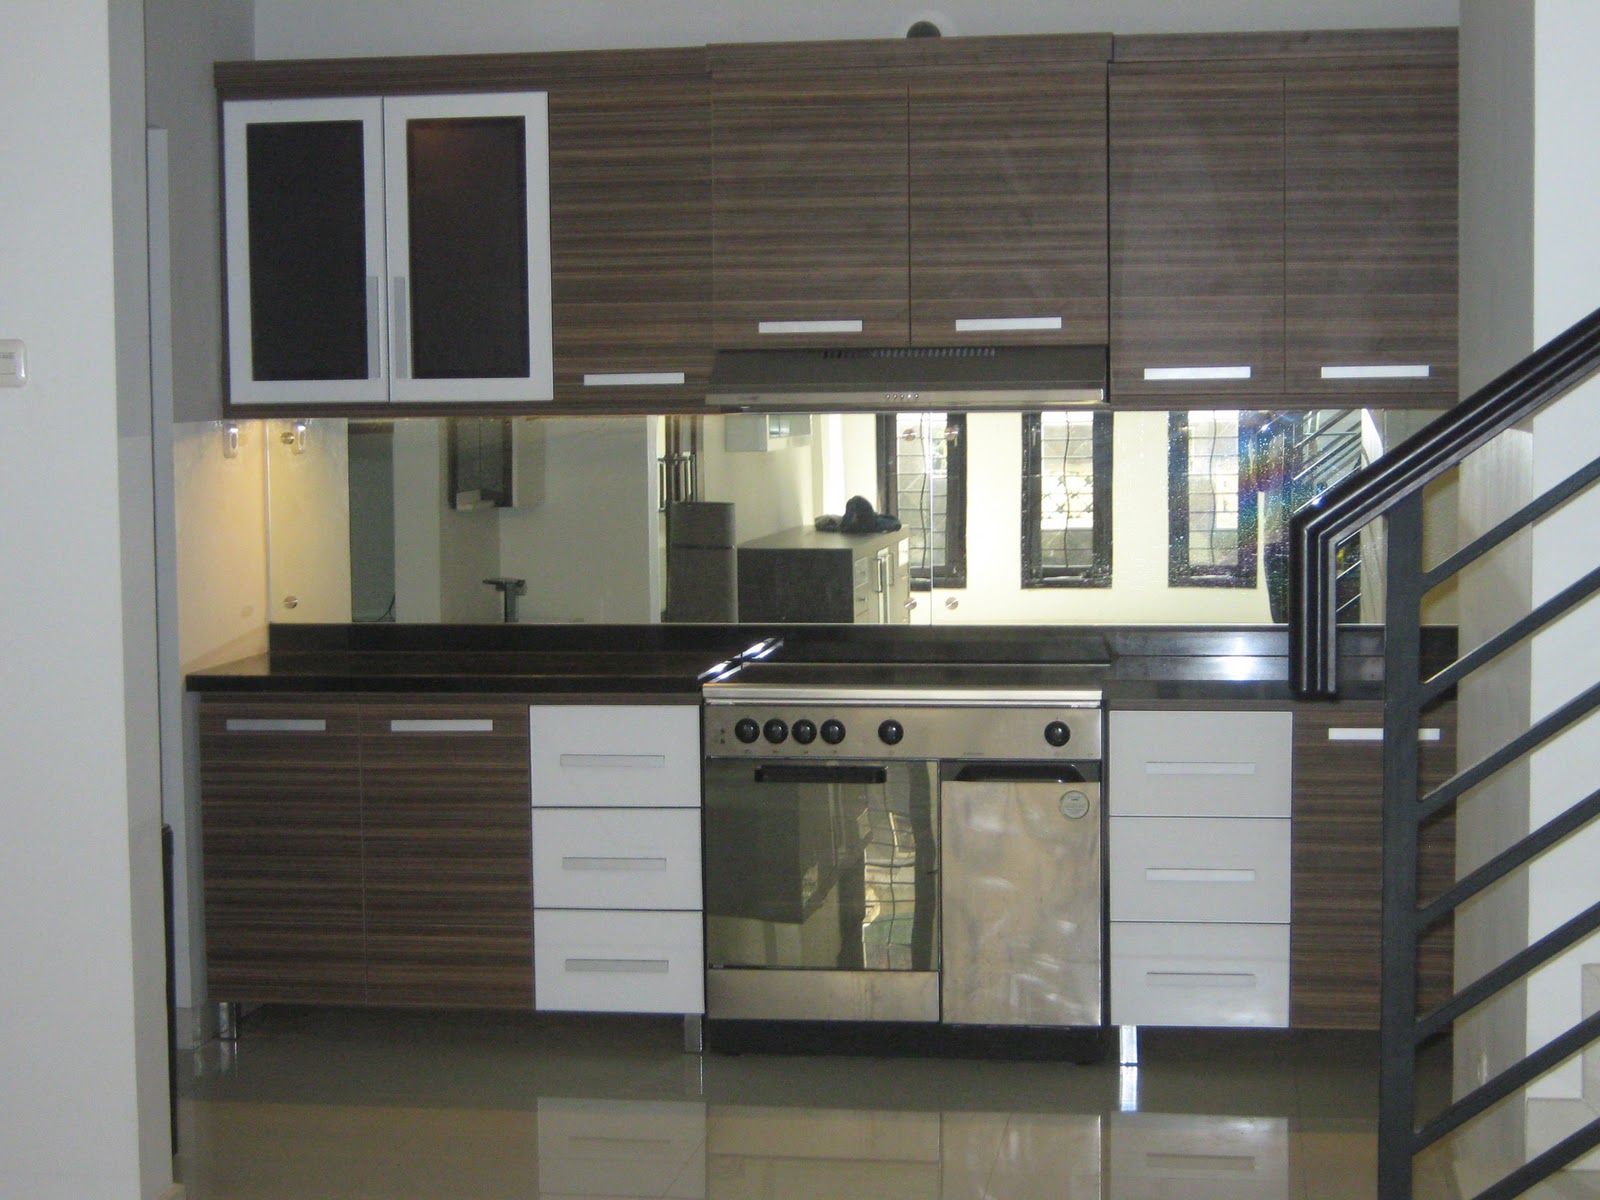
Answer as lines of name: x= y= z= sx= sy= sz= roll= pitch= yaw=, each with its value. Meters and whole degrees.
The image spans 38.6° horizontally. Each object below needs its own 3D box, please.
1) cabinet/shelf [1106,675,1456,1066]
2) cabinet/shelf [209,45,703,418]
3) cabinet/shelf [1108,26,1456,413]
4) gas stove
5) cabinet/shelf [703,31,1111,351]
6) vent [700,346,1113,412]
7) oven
cabinet/shelf: x=1.395 y=0.722 z=6.761 sx=1.320 sy=1.376 sz=0.747 roll=0 pitch=-1 yaw=7
cabinet/shelf: x=-1.011 y=-1.006 z=7.045 sx=1.420 sy=1.114 sz=0.772 roll=-3 pitch=-8 yaw=-4
cabinet/shelf: x=1.471 y=-1.140 z=6.804 sx=1.029 sy=1.080 sz=0.586 roll=1 pitch=16 yaw=16
gas stove: x=0.287 y=0.353 z=6.466 sx=1.119 sy=0.216 sz=0.097 roll=0 pitch=-2 yaw=9
cabinet/shelf: x=0.347 y=-1.165 z=7.020 sx=1.330 sy=1.377 sz=0.752 roll=0 pitch=9 yaw=7
vent: x=0.320 y=-0.657 z=6.695 sx=1.171 sy=0.183 sz=0.185 roll=0 pitch=-2 yaw=3
oven: x=0.112 y=0.667 z=6.734 sx=0.899 sy=0.887 sz=0.514 roll=0 pitch=2 yaw=6
